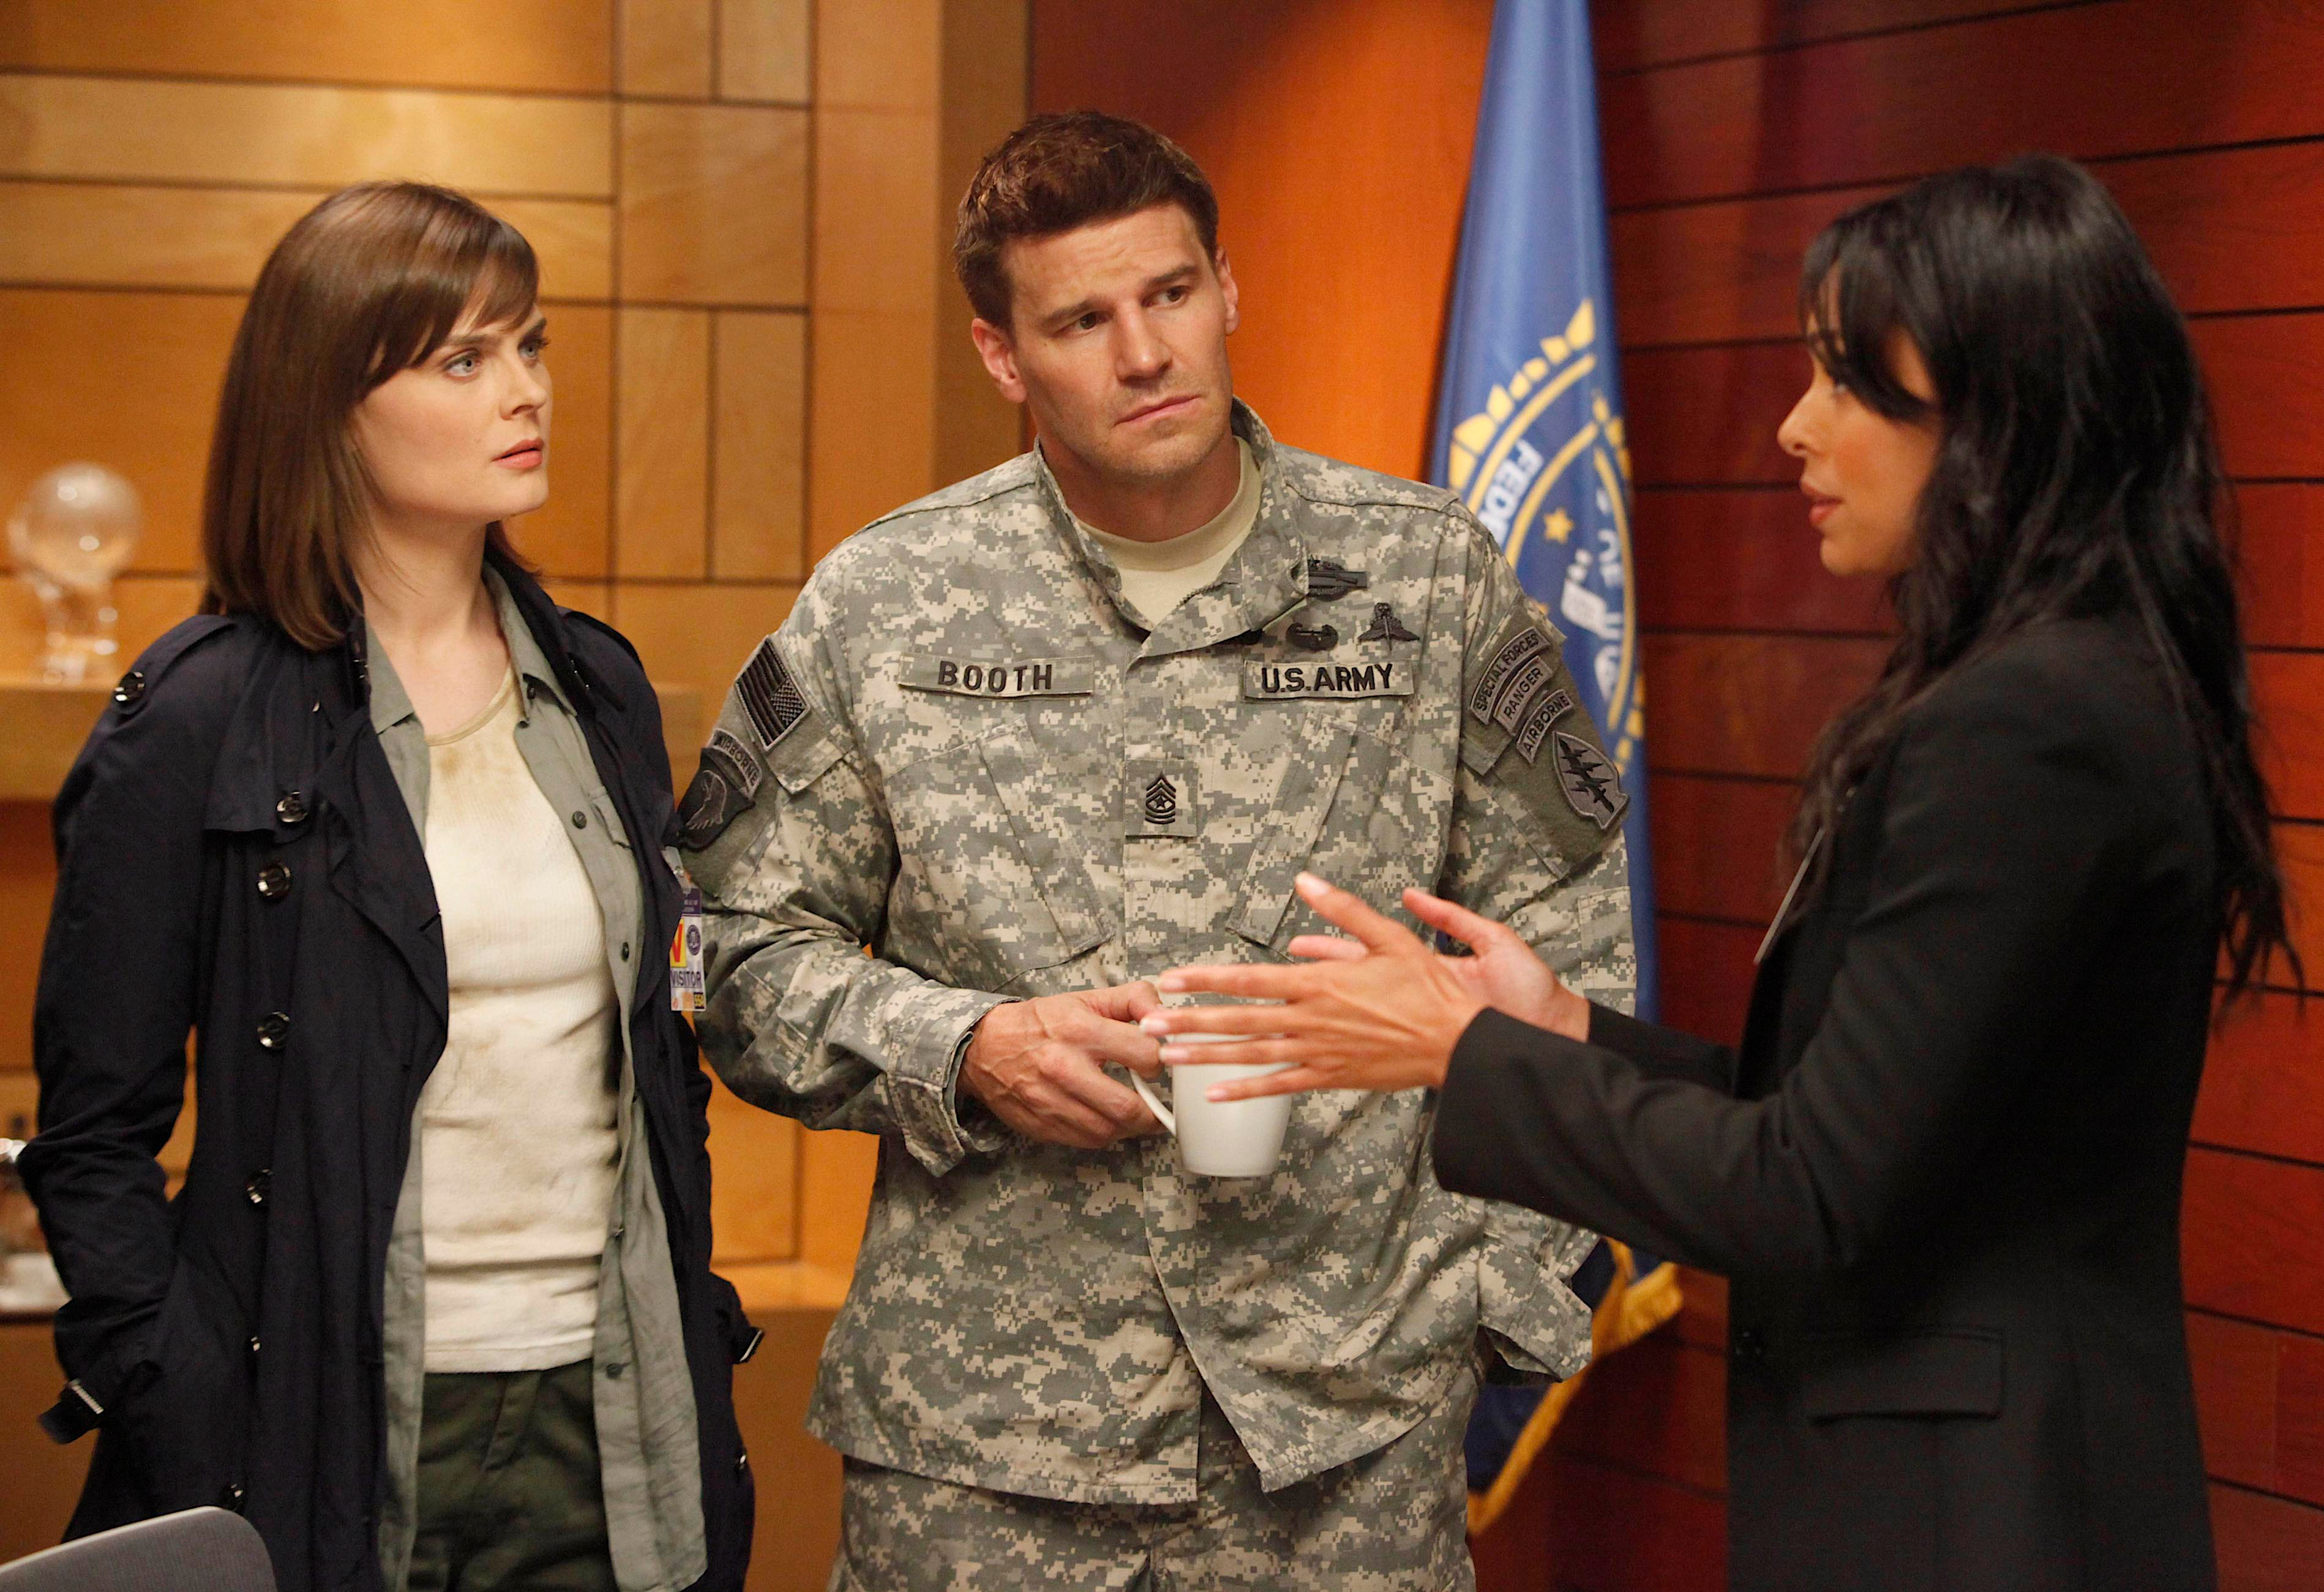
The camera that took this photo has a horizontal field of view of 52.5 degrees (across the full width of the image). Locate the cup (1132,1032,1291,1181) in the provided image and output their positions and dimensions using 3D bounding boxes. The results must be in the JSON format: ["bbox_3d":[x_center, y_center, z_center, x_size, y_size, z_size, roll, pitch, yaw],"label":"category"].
[{"bbox_3d":[0.027,0.350,2.679,0.212,0.147,0.162,21,-1,-1],"label":"cup"}]
